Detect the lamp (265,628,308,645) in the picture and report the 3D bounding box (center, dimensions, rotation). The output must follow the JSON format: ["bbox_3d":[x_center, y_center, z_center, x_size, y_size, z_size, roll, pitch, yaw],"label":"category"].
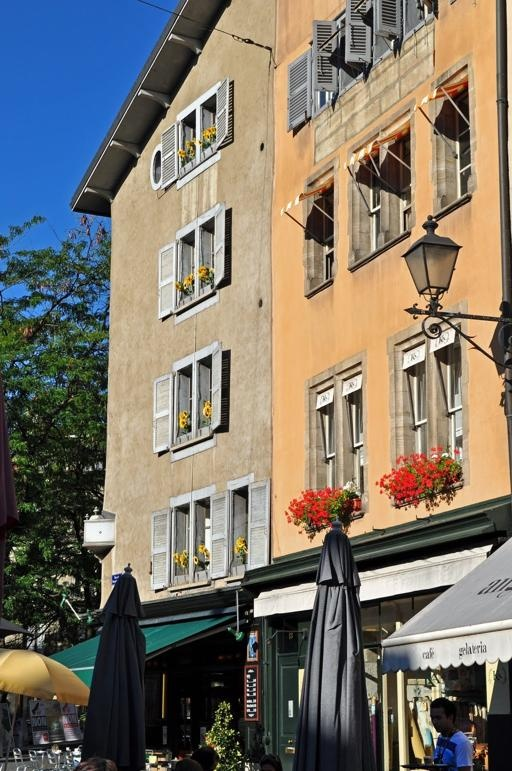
[{"bbox_3d":[0.392,3.481,23.786,0.352,0.335,0.406,-6,-11,40],"label":"lamp"}]

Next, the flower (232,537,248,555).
[{"bbox_3d":[-0.245,2.471,25.678,0.190,0.267,0.233,4,20,-18],"label":"flower"}]

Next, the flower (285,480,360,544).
[{"bbox_3d":[0.957,1.606,22.305,0.740,0.608,0.708,-15,-6,26],"label":"flower"}]

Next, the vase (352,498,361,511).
[{"bbox_3d":[1.327,1.529,21.659,0.099,0.115,0.126,1,-19,-2],"label":"vase"}]
